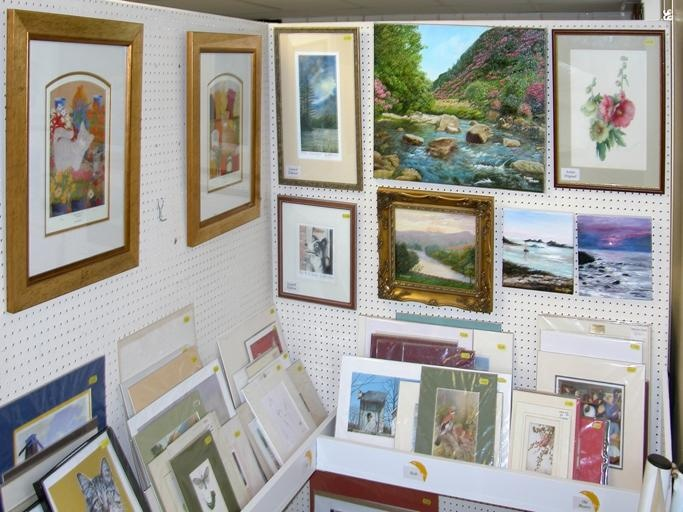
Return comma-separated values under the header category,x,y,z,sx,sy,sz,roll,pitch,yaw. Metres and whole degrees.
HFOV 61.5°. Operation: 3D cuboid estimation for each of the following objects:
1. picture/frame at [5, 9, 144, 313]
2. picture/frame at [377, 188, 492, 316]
category,x,y,z,sx,sy,sz,roll,pitch,yaw
picture/frame,-0.845,-0.311,1.840,0.044,0.861,0.533,8,14,29
picture/frame,0.444,-0.039,2.654,0.490,0.558,0.059,4,10,24
